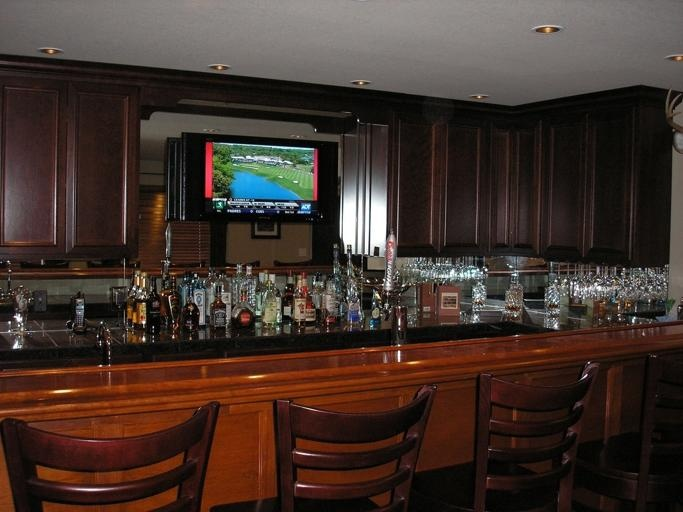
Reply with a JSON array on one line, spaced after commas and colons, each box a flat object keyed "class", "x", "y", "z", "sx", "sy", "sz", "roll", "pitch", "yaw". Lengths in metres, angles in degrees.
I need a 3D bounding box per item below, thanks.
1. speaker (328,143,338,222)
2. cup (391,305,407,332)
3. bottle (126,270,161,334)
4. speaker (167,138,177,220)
[{"class": "speaker", "x": -0.050, "y": -0.645, "z": 5.005, "sx": 0.081, "sy": 0.660, "sz": 0.256, "roll": -2, "pitch": 2, "yaw": 0}, {"class": "cup", "x": 0.308, "y": 0.337, "z": 3.083, "sx": 0.074, "sy": 0.134, "sz": 0.104, "roll": -2, "pitch": 2, "yaw": 0}, {"class": "bottle", "x": -1.269, "y": 0.287, "z": 3.666, "sx": 0.194, "sy": 0.365, "sz": 0.495, "roll": -3, "pitch": 2, "yaw": -25}, {"class": "speaker", "x": -1.409, "y": -0.648, "z": 4.792, "sx": 0.113, "sy": 0.683, "sz": 0.239, "roll": -3, "pitch": 2, "yaw": -16}]
